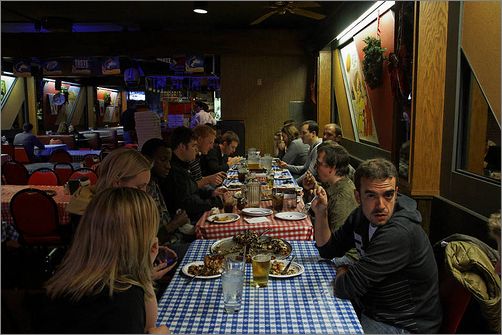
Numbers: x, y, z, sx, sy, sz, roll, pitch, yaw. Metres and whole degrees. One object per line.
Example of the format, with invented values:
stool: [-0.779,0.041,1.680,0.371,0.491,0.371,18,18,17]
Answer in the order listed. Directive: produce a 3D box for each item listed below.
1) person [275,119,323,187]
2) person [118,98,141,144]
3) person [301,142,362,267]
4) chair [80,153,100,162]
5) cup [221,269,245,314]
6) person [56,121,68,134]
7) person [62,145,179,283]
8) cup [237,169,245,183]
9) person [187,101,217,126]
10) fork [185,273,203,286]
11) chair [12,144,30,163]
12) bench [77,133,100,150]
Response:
person: [0.926,-0.115,5.958,0.851,1.269,0.526,-3,-2,-6]
person: [-3.552,-1.251,10.538,0.513,1.364,3.068,-7,15,-19]
person: [0.670,0.301,3.269,0.649,0.991,0.652,-4,12,-18]
chair: [-3.172,-0.214,7.119,0.255,0.126,0.259,0,3,-25]
cup: [-0.091,0.643,1.846,0.178,0.202,0.178,0,-9,0]
person: [-6.338,-1.327,12.027,0.376,0.383,1.639,-10,16,-27]
person: [-0.930,0.297,2.618,0.832,0.883,0.565,17,15,16]
cup: [-0.113,0.106,4.641,0.129,0.146,0.134,1,-5,0]
person: [-1.290,-1.405,9.286,0.544,0.637,1.239,-5,14,-9]
fork: [-0.331,0.639,2.050,0.021,0.018,0.152,10,7,16]
chair: [-5.316,-0.326,8.293,0.571,0.362,0.225,10,19,40]
bench: [-5.453,-0.871,12.015,0.912,0.638,0.625,1,0,12]
